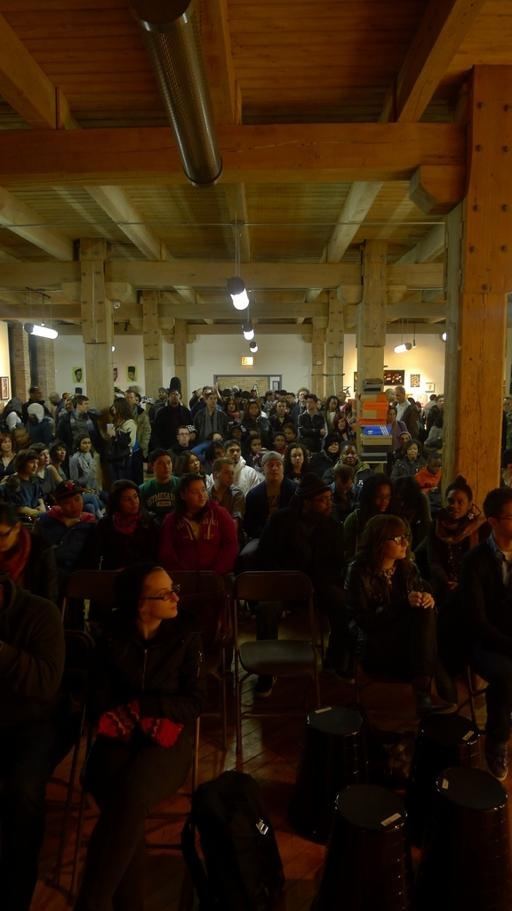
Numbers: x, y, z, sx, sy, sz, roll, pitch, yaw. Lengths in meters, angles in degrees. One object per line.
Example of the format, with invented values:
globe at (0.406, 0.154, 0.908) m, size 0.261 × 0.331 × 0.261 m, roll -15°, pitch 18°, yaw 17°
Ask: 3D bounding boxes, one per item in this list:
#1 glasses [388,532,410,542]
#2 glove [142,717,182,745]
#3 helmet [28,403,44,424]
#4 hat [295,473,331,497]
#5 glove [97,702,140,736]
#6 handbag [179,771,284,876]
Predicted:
glasses at (0.752, 0.425, 3.077) m, size 0.114 × 0.039 × 0.119 m, roll -2°, pitch -4°, yaw 45°
glove at (-0.305, 0.905, 1.945) m, size 0.111 × 0.087 × 0.040 m, roll 34°, pitch -30°, yaw -10°
helmet at (-3.476, -0.648, 9.358) m, size 0.257 × 0.398 × 0.271 m, roll -3°, pitch 12°, yaw -22°
hat at (0.364, 0.187, 3.736) m, size 0.124 × 0.115 × 0.178 m, roll -4°, pitch -1°, yaw -5°
glove at (-0.465, 0.870, 1.983) m, size 0.098 × 0.046 × 0.107 m, roll 4°, pitch 12°, yaw 18°
handbag at (-0.055, 1.130, 1.762) m, size 0.280 × 0.328 × 0.177 m, roll -1°, pitch -13°, yaw -39°
